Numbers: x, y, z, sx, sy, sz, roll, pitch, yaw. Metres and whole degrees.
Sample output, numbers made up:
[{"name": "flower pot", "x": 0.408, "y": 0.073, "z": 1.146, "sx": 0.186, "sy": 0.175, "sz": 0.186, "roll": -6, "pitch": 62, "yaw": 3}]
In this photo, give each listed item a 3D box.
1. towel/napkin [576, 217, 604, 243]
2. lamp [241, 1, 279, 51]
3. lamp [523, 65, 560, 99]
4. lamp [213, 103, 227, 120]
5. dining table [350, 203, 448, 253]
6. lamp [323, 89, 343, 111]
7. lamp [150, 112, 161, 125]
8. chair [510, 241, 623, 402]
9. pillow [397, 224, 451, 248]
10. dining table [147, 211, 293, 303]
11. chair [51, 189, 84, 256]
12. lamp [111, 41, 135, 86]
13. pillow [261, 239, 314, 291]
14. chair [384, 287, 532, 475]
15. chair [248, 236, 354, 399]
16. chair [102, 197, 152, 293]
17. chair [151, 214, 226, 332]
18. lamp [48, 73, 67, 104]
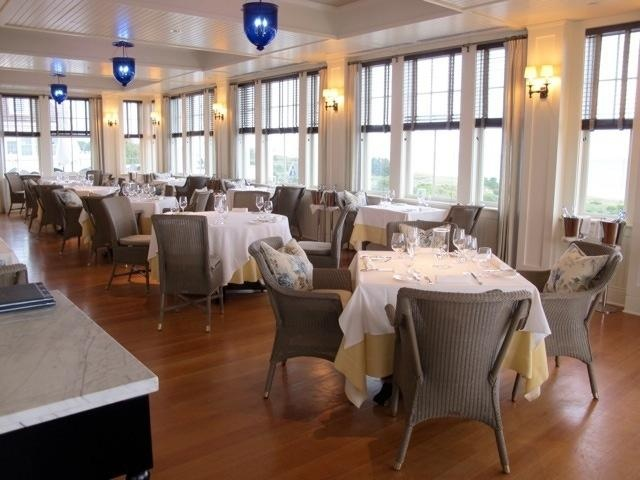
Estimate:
[{"name": "towel/napkin", "x": 3.122, "y": -0.104, "z": 5.401, "sx": 0.230, "sy": 0.326, "sz": 0.557, "roll": 7, "pitch": 13, "yaw": 28}, {"name": "lamp", "x": -0.514, "y": -1.961, "z": 4.312, "sx": 0.363, "sy": 0.544, "sz": 0.363, "roll": 1, "pitch": 7, "yaw": -3}, {"name": "lamp", "x": 2.653, "y": -1.871, "z": 5.625, "sx": 0.239, "sy": 0.377, "sz": 0.340, "roll": -5, "pitch": 10, "yaw": -36}, {"name": "lamp", "x": -2.389, "y": -2.997, "z": 11.005, "sx": 0.149, "sy": 0.400, "sz": 0.480, "roll": -11, "pitch": 17, "yaw": -41}, {"name": "dining table", "x": 1.187, "y": -0.124, "z": 6.759, "sx": 1.062, "sy": 0.618, "sz": 1.282, "roll": -1, "pitch": 8, "yaw": -24}, {"name": "lamp", "x": 0.199, "y": -2.445, "z": 8.258, "sx": 0.140, "sy": 0.384, "sz": 0.437, "roll": -11, "pitch": 16, "yaw": -41}, {"name": "lamp", "x": -5.105, "y": -3.718, "z": 14.480, "sx": 0.197, "sy": 0.402, "sz": 0.782, "roll": -6, "pitch": 13, "yaw": -27}, {"name": "chair", "x": 1.768, "y": 0.600, "z": 3.469, "sx": 0.746, "sy": 0.950, "sz": 0.774, "roll": 0, "pitch": 1, "yaw": 34}, {"name": "pillow", "x": 0.866, "y": -0.028, "z": 3.772, "sx": 0.288, "sy": 0.091, "sz": 0.305, "roll": 3, "pitch": -4, "yaw": 22}, {"name": "dining table", "x": -0.902, "y": 0.041, "z": 5.097, "sx": 1.076, "sy": 0.508, "sz": 1.081, "roll": 1, "pitch": 3, "yaw": 30}, {"name": "chair", "x": -4.212, "y": -0.243, "z": 7.767, "sx": 0.608, "sy": 0.809, "sz": 0.627, "roll": -5, "pitch": 5, "yaw": -39}, {"name": "lamp", "x": -2.874, "y": -2.571, "z": 6.854, "sx": 0.299, "sy": 0.644, "sz": 0.319, "roll": 0, "pitch": 9, "yaw": -3}, {"name": "pillow", "x": -0.224, "y": 0.217, "z": 3.389, "sx": 0.113, "sy": 0.377, "sz": 0.355, "roll": -33, "pitch": -16, "yaw": 32}, {"name": "chair", "x": 0.738, "y": 0.670, "z": 2.900, "sx": 0.949, "sy": 1.281, "sz": 0.933, "roll": 0, "pitch": 14, "yaw": 2}, {"name": "chair", "x": -0.227, "y": 0.522, "z": 3.760, "sx": 0.986, "sy": 1.295, "sz": 1.067, "roll": 0, "pitch": 8, "yaw": 4}, {"name": "chair", "x": -2.206, "y": -0.010, "z": 5.694, "sx": 0.735, "sy": 0.975, "sz": 0.776, "roll": -9, "pitch": 17, "yaw": -40}, {"name": "chair", "x": -1.290, "y": 0.283, "z": 4.547, "sx": 0.543, "sy": 1.109, "sz": 0.480, "roll": 1, "pitch": 13, "yaw": 3}, {"name": "lamp", "x": -5.957, "y": -3.441, "z": 10.662, "sx": 0.409, "sy": 0.688, "sz": 0.430, "roll": 10, "pitch": 14, "yaw": 29}]
